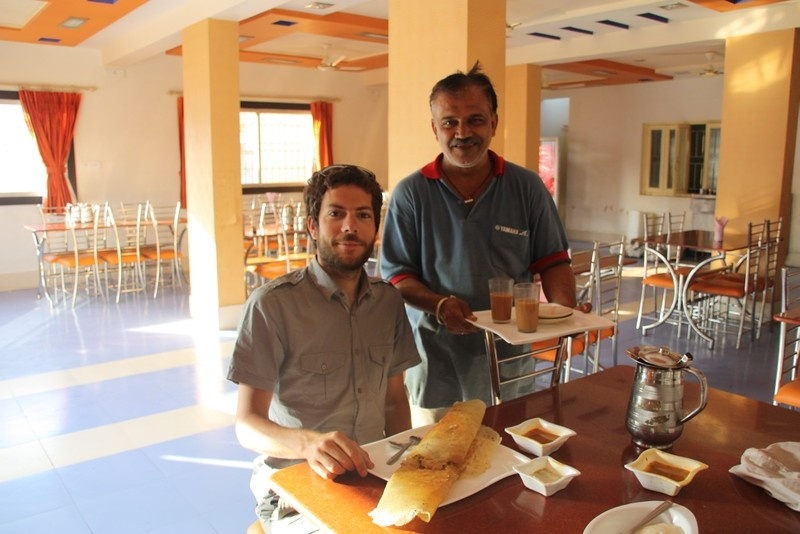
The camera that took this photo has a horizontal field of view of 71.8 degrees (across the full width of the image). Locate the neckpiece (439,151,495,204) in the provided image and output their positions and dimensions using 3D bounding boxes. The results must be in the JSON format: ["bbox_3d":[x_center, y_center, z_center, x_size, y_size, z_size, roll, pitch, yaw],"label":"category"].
[{"bbox_3d":[0.295,-0.405,2.459,0.254,0.215,0.125,1,14,5],"label":"neckpiece"}]

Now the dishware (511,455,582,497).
[{"bbox_3d":[0.448,0.644,1.696,0.123,0.041,0.123,-17,17,-38],"label":"dishware"}]

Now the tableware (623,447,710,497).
[{"bbox_3d":[0.816,0.608,1.685,0.155,0.057,0.150,3,19,33],"label":"tableware"}]

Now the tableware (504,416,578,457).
[{"bbox_3d":[0.461,0.565,1.849,0.136,0.047,0.134,-12,12,-36],"label":"tableware"}]

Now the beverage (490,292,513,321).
[{"bbox_3d":[0.383,0.157,2.153,0.101,0.109,0.102,0,4,2],"label":"beverage"}]

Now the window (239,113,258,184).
[{"bbox_3d":[-2.757,-2.185,10.153,0.178,1.302,0.521,-4,12,-37],"label":"window"}]

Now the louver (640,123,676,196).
[{"bbox_3d":[5.022,-2.054,10.526,0.079,1.383,0.724,-23,25,-39],"label":"louver"}]

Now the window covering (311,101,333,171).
[{"bbox_3d":[-1.464,-2.508,10.386,0.396,1.193,0.278,-5,15,-15],"label":"window covering"}]

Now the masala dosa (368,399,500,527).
[{"bbox_3d":[0.111,0.603,1.722,0.200,0.206,0.519,10,17,36],"label":"masala dosa"}]

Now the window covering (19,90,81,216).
[{"bbox_3d":[-4.925,-1.704,7.940,0.687,1.613,0.281,-10,17,-31],"label":"window covering"}]

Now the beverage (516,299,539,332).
[{"bbox_3d":[0.464,0.185,2.063,0.108,0.116,0.108,-1,1,-4],"label":"beverage"}]

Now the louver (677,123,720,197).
[{"bbox_3d":[5.547,-1.976,10.069,0.144,1.248,0.698,-14,17,-30],"label":"louver"}]
